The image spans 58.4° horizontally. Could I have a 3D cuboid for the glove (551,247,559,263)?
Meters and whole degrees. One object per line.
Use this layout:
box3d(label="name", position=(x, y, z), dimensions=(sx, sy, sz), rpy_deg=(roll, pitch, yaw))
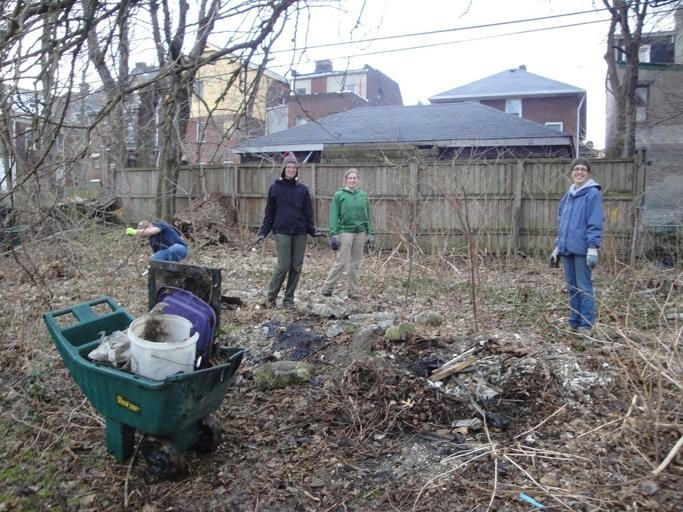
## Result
box3d(label="glove", position=(2.375, -0.006, 6.736), dimensions=(0.052, 0.161, 0.108), rpy_deg=(5, 12, -6))

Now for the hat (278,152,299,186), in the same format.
box3d(label="hat", position=(-0.660, -1.163, 7.925), dimensions=(0.244, 0.375, 0.332), rpy_deg=(-4, 9, -17))

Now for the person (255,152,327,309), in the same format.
box3d(label="person", position=(-0.672, -0.343, 7.957), dimensions=(0.694, 1.965, 0.687), rpy_deg=(2, 10, 22))

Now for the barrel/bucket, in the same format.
box3d(label="barrel/bucket", position=(-1.410, 0.721, 4.980), dimensions=(0.522, 0.401, 0.521), rpy_deg=(6, 5, 0))

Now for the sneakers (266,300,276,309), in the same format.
box3d(label="sneakers", position=(-0.907, 0.611, 7.918), dimensions=(0.123, 0.107, 0.176), rpy_deg=(-3, 8, -9))

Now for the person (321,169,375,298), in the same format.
box3d(label="person", position=(0.097, -0.317, 8.569), dimensions=(0.635, 1.775, 0.531), rpy_deg=(1, 9, 16))

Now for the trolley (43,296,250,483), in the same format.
box3d(label="trolley", position=(-1.700, 1.156, 5.249), dimensions=(1.745, 1.158, 1.000), rpy_deg=(10, 13, 25))

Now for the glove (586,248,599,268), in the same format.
box3d(label="glove", position=(2.581, 0.015, 6.250), dimensions=(0.104, 0.200, 0.145), rpy_deg=(1, 9, 14))

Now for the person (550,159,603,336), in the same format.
box3d(label="person", position=(2.487, -0.122, 6.371), dimensions=(0.481, 1.756, 0.963), rpy_deg=(1, 9, 15))
